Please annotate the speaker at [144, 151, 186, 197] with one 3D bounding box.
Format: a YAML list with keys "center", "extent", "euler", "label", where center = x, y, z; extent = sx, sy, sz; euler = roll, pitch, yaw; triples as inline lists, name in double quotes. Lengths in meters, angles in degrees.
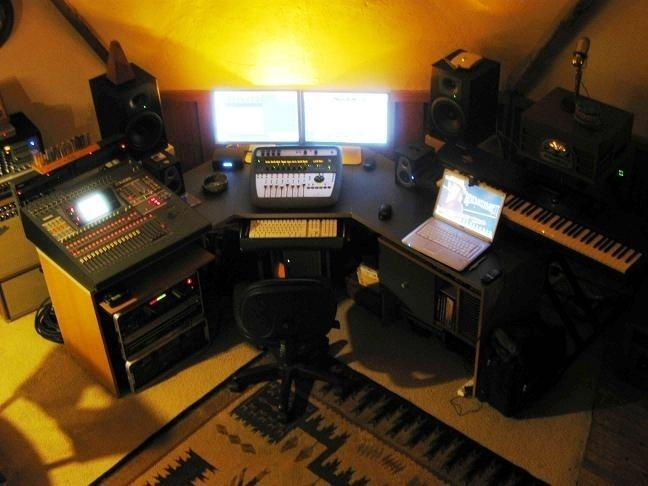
- center: [-1.287, -0.534, 4.468]
  extent: [0.218, 0.395, 0.204]
  euler: [33, 57, 25]
  label: "speaker"

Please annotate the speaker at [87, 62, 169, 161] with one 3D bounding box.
- center: [-1.527, -1.011, 4.329]
  extent: [0.429, 0.535, 0.429]
  euler: [-15, 34, -22]
  label: "speaker"

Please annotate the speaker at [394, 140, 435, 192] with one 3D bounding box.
- center: [0.748, -0.629, 4.516]
  extent: [0.233, 0.324, 0.322]
  euler: [20, 43, 30]
  label: "speaker"

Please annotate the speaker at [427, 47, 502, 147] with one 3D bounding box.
- center: [1.133, -1.178, 4.449]
  extent: [0.465, 0.618, 0.532]
  euler: [-16, 41, -9]
  label: "speaker"

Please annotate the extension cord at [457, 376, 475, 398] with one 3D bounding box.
- center: [1.103, 1.109, 4.162]
  extent: [0.165, 0.041, 0.114]
  euler: [-28, 67, 12]
  label: "extension cord"
